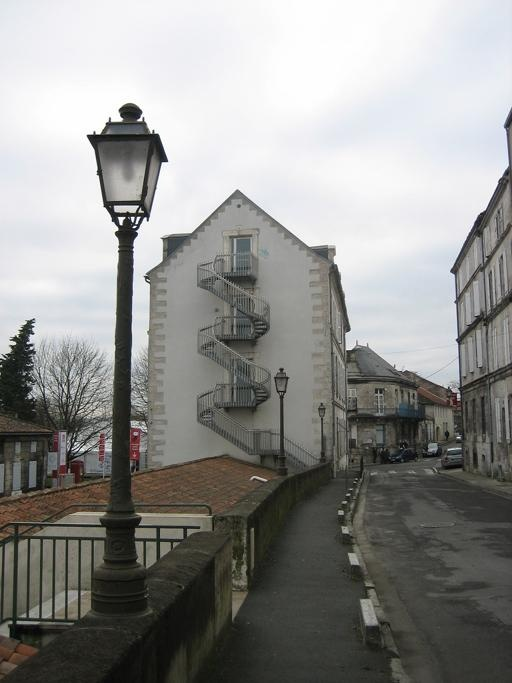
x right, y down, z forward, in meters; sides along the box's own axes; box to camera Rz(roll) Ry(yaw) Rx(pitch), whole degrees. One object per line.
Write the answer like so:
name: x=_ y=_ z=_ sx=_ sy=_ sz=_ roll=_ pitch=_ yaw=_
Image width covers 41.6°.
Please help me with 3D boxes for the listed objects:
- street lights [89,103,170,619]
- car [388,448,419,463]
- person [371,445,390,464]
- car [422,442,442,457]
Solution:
street lights: x=-0.691 y=0.020 z=3.583 sx=0.430 sy=2.661 sz=0.556 roll=-1 pitch=-8 yaw=-7
car: x=11.676 y=9.070 z=53.436 sx=1.258 sy=1.109 sz=3.002 roll=-8 pitch=-11 yaw=33
person: x=10.420 y=9.485 z=56.151 sx=1.296 sy=1.374 sz=0.744 roll=-5 pitch=-21 yaw=20
car: x=16.001 y=9.894 z=60.938 sx=0.899 sy=1.247 sz=2.330 roll=-8 pitch=-11 yaw=36
